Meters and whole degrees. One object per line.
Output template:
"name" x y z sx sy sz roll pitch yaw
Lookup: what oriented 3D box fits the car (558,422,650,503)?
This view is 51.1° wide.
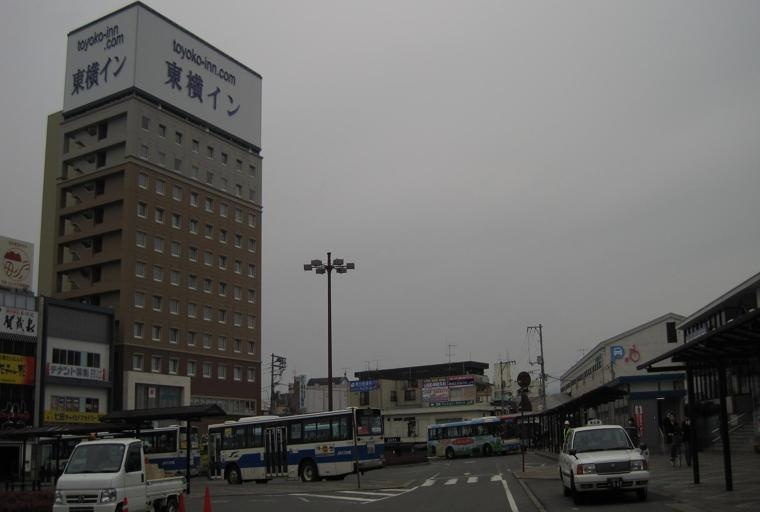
"car" 9.809 9.159 35.057 3.501 3.581 2.137 -9 -20 14

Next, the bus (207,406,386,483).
"bus" -5.797 12.614 51.526 11.640 4.705 2.500 -16 -23 25

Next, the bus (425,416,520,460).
"bus" 9.707 18.087 77.626 9.285 4.249 3.865 -11 -17 28
